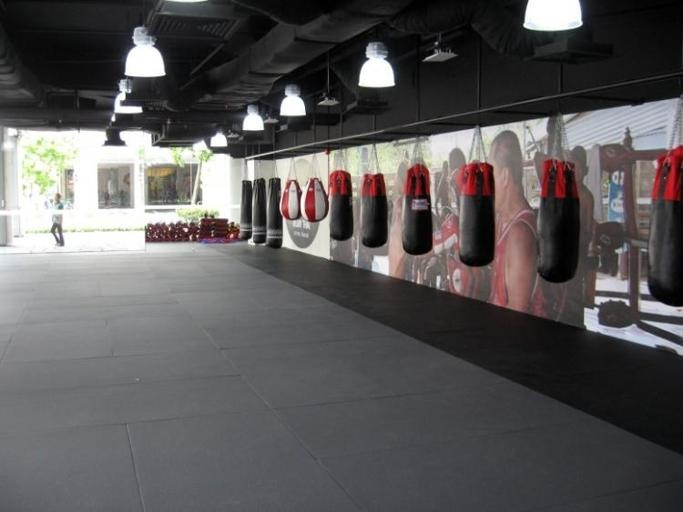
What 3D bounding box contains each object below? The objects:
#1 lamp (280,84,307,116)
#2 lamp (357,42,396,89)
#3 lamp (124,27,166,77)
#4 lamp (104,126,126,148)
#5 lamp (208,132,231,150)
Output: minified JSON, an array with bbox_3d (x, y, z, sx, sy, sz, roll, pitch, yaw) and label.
[{"bbox_3d":[-0.654,-2.169,6.840,0.402,0.511,0.444,2,15,5],"label":"lamp"},{"bbox_3d":[0.383,-2.040,5.086,0.352,0.429,0.378,8,29,6],"label":"lamp"},{"bbox_3d":[-1.941,-2.008,4.727,0.319,0.534,0.463,-4,7,-24],"label":"lamp"},{"bbox_3d":[-5.948,-3.155,12.700,0.608,0.671,0.635,-2,6,-27],"label":"lamp"},{"bbox_3d":[-3.217,-2.948,12.547,0.457,0.338,2.402,-3,8,-16],"label":"lamp"}]
